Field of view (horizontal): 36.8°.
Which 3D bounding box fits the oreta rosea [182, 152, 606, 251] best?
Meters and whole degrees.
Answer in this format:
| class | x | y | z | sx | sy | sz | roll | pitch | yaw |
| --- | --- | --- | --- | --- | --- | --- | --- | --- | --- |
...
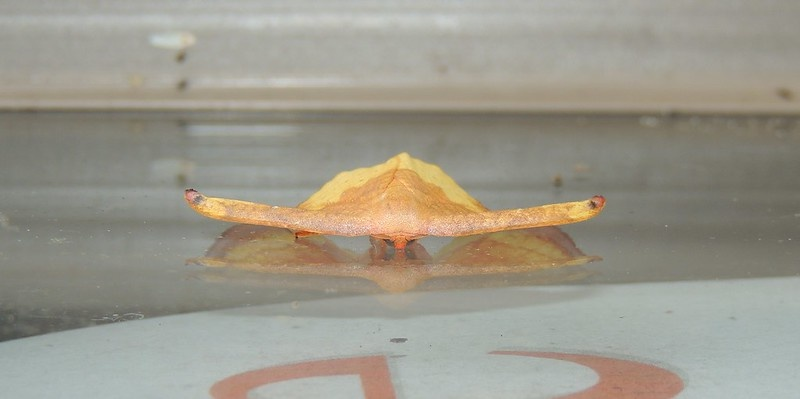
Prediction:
| class | x | y | z | sx | sy | sz | roll | pitch | yaw |
| --- | --- | --- | --- | --- | --- | --- | --- | --- | --- |
| oreta rosea | -0.003 | 0.005 | 2.979 | 1.002 | 0.230 | 0.194 | 0 | 2 | 3 |
